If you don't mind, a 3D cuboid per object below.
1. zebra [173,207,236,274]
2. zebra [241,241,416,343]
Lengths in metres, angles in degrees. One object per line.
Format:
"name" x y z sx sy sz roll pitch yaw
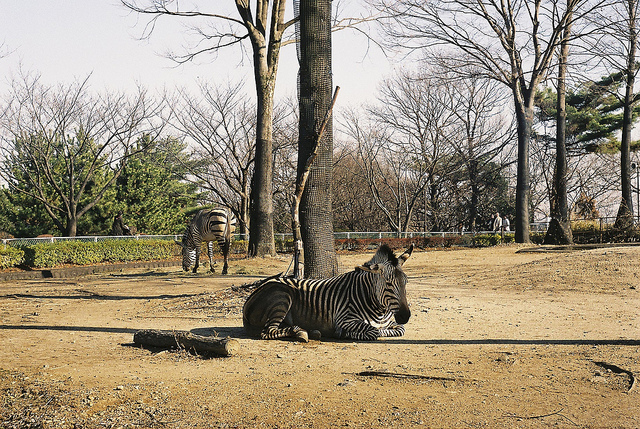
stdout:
"zebra" -5.967 1.509 52.015 1.451 3.519 5.022 4 -12 -36
"zebra" 0.235 3.516 40.441 6.777 3.519 2.511 -2 -9 12
